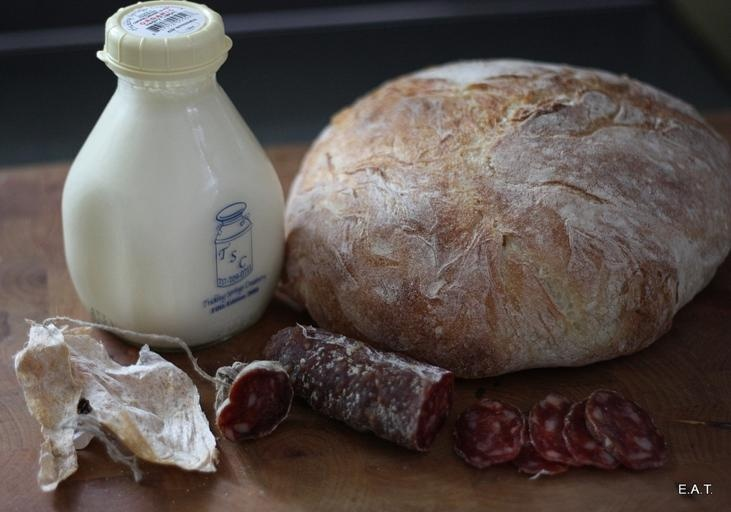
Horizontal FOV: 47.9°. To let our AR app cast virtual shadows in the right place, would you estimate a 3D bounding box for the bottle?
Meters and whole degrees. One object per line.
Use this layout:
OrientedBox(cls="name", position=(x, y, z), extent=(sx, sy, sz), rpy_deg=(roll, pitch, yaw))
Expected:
OrientedBox(cls="bottle", position=(-0.350, -0.112, 1.457), extent=(0.353, 0.496, 0.396), rpy_deg=(36, 58, 24))
